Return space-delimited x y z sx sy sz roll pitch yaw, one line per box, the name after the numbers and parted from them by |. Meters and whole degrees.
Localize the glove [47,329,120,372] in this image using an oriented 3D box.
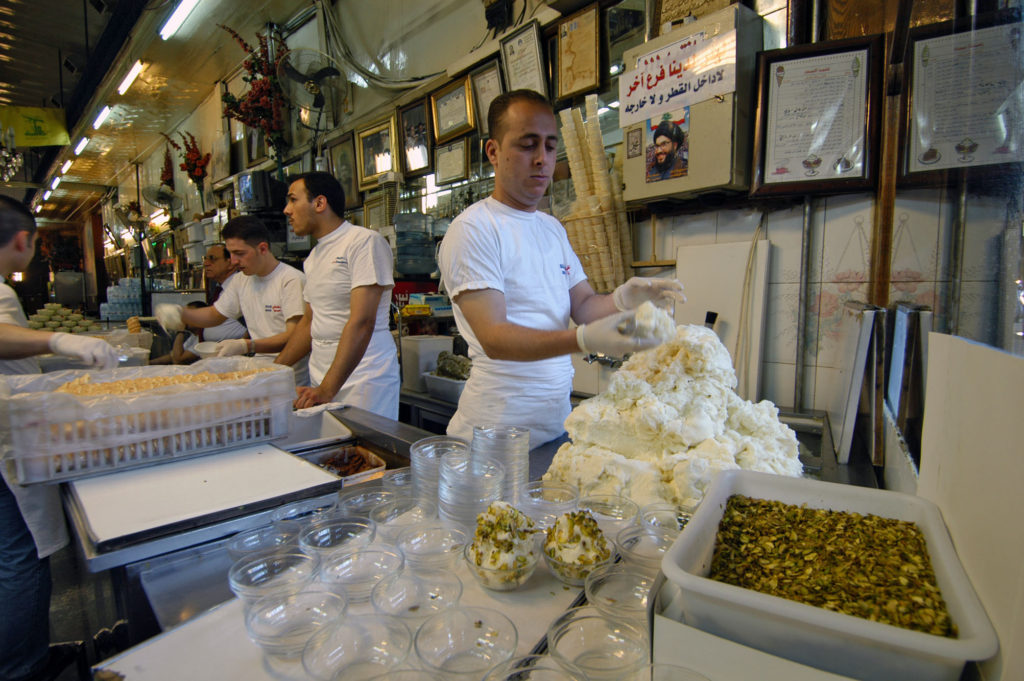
-1.951 0.029 3.044 0.250 0.087 0.193 7 -6 28 | glove

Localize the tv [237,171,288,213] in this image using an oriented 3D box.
-2.284 -1.314 6.041 0.461 0.342 0.424 2 5 8 | tv

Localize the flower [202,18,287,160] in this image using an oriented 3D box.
-2.480 -2.421 6.430 0.520 1.300 1.502 -6 9 -31 | flower

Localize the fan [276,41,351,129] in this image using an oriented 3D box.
-1.735 -2.185 5.803 0.507 0.709 0.417 -9 41 -20 | fan

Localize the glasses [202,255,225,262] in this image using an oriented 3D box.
-2.300 -0.647 5.159 0.126 0.036 0.127 0 -3 40 | glasses
